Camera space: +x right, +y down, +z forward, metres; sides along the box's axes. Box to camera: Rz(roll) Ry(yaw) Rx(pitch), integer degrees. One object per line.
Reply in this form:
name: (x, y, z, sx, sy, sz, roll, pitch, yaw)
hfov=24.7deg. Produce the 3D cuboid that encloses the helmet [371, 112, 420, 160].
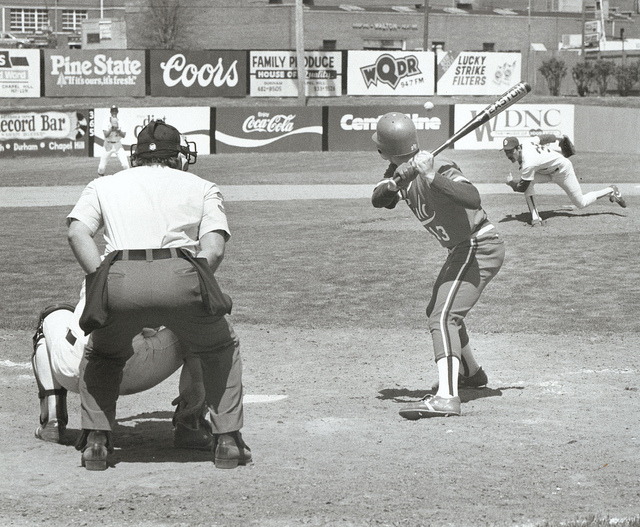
helmet: (0.842, -1.444, 16.167, 0.425, 0.437, 0.558, -26, 45, -25)

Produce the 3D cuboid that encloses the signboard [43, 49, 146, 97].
signboard: (-6.718, -5.694, 44.332, 3.257, 1.417, 0.384, -5, 8, -30)

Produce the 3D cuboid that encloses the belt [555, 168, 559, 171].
belt: (4.025, -1.563, 24.659, 0.059, 0.043, 0.030, 3, 9, 39)

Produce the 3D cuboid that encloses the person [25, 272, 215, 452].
person: (-2.004, 1.086, 15.272, 1.515, 1.765, 1.160, 6, 42, -3)

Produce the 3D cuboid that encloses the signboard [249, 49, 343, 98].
signboard: (-0.834, -5.956, 46.491, 3.829, 1.528, 0.383, -5, 8, -33)

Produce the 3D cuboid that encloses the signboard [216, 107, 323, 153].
signboard: (-1.249, -3.441, 38.496, 3.045, 1.174, 0.605, -5, 7, -24)

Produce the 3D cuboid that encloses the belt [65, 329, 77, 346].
belt: (-2.568, 0.782, 15.317, 0.110, 0.133, 0.153, 45, 4, 11)
